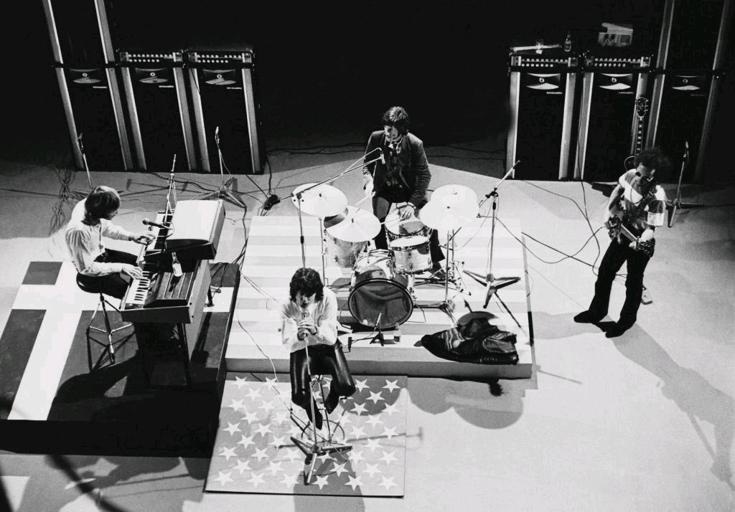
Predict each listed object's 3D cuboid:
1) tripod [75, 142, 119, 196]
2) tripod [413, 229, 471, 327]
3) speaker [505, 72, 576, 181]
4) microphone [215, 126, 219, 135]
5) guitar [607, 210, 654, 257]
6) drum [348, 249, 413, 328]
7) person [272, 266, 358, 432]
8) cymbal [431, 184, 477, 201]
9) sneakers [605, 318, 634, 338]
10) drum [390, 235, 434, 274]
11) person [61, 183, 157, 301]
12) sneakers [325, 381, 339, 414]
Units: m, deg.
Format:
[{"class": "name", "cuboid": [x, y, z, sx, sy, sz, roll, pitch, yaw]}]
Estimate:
[{"class": "tripod", "cuboid": [-5.478, -1.738, 11.028, 0.306, 0.972, 0.907, -28, 38, -28]}, {"class": "tripod", "cuboid": [1.084, 0.373, 8.417, 0.916, 1.251, 0.967, -7, 58, -7]}, {"class": "speaker", "cuboid": [3.149, -2.313, 10.081, 1.356, 1.990, 0.492, 3, 22, 5]}, {"class": "microphone", "cuboid": [-2.819, -2.350, 10.595, 0.050, 0.188, 0.033, 10, -5, -13]}, {"class": "guitar", "cuboid": [3.625, -0.288, 7.782, 0.697, 0.409, 0.187, 41, 24, 22]}, {"class": "drum", "cuboid": [0.204, 0.541, 7.866, 0.933, 0.948, 0.920, -4, 24, 11]}, {"class": "person", "cuboid": [-0.606, 1.217, 6.763, 0.783, 2.214, 0.837, -6, 29, -10]}, {"class": "cymbal", "cuboid": [1.213, -0.886, 7.783, 0.336, 0.081, 0.337, -13, 41, -13]}, {"class": "sneakers", "cuboid": [3.660, 1.070, 8.260, 0.419, 0.166, 0.230, -24, 60, 28]}, {"class": "drum", "cuboid": [0.630, -0.003, 7.865, 0.519, 0.370, 0.522, -13, 18, 4]}, {"class": "person", "cuboid": [-3.832, -0.142, 8.353, 1.066, 1.787, 0.865, -2, 64, -18]}, {"class": "sneakers", "cuboid": [-0.424, 1.727, 6.921, 0.160, 0.450, 0.176, 5, 25, 8]}]
